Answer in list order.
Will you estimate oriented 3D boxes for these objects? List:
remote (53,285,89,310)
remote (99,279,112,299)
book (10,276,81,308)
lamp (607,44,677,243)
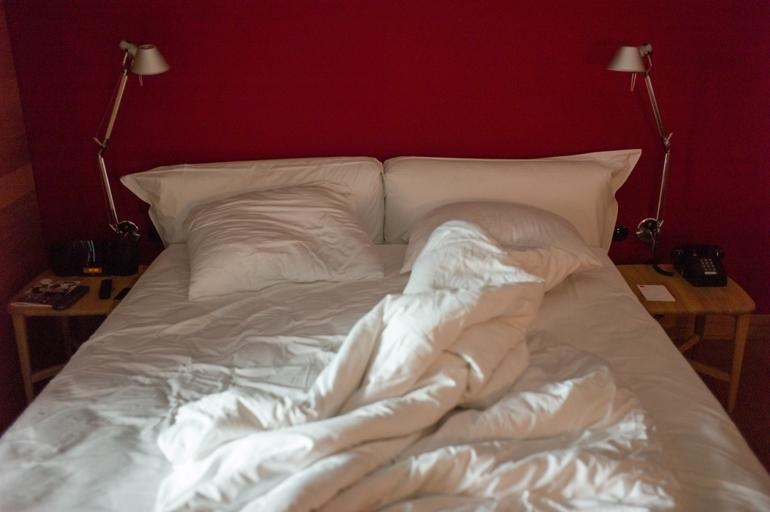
[{"bbox_3d":[-1.725,0.226,3.077,0.069,0.026,0.151,4,23,8],"label":"remote"},{"bbox_3d":[-1.569,0.186,3.128,0.039,0.011,0.108,-7,30,-9],"label":"remote"},{"bbox_3d":[-1.858,0.202,3.081,0.197,0.047,0.198,0,27,0],"label":"book"},{"bbox_3d":[1.502,-0.646,3.348,0.386,1.188,0.527,7,16,26],"label":"lamp"}]
